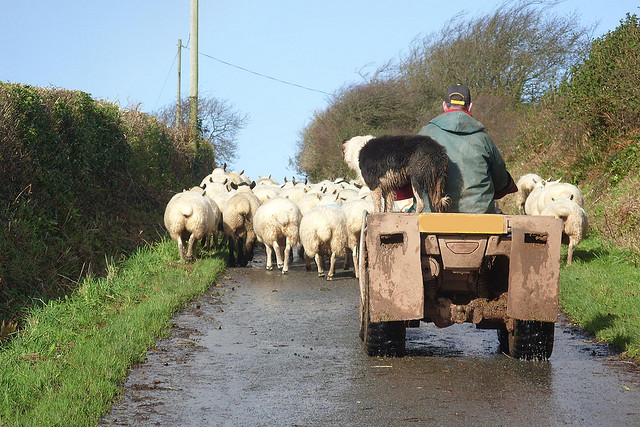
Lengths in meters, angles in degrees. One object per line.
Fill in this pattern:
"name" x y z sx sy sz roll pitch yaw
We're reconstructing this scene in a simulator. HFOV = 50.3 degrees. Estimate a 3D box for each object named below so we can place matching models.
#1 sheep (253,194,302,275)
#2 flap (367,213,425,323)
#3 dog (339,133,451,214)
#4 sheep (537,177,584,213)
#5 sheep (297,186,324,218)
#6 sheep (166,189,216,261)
"sheep" -0.971 0.367 17.879 0.931 1.657 2.207 -1 1 -7
"flap" 1.096 0.774 9.918 0.782 1.550 0.213 0 9 -1
"dog" 1.196 -0.585 10.484 1.953 1.250 0.609 6 10 38
"sheep" 6.425 -0.547 18.846 0.639 1.130 1.495 -3 2 -13
"sheep" -0.259 -0.474 20.989 0.439 0.867 1.405 10 33 20
"sheep" -3.444 0.330 18.598 1.205 1.981 2.734 1 0 0
